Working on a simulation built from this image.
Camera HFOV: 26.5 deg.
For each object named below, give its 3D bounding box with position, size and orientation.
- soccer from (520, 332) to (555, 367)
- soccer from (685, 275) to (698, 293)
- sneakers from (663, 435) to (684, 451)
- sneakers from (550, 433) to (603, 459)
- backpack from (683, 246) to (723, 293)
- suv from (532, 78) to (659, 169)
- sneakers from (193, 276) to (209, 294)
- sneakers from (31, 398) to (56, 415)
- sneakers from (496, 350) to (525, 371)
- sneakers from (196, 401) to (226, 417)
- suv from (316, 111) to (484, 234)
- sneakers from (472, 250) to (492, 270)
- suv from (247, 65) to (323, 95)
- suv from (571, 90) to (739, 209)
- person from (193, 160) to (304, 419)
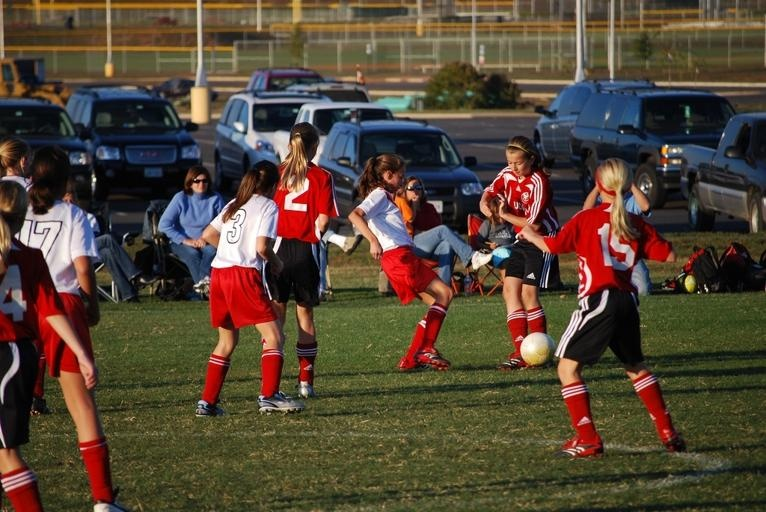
[{"bbox_3d":[2.362,1.396,24.870,0.536,0.506,0.486,-4,3,-4],"label":"soccer"},{"bbox_3d":[5.680,0.512,29.997,0.266,0.341,0.277,-16,3,13],"label":"soccer"},{"bbox_3d":[4.045,2.601,22.336,0.218,0.199,0.254,-42,1,-12],"label":"sneakers"},{"bbox_3d":[2.764,2.637,22.445,0.500,0.217,0.296,3,2,7],"label":"sneakers"},{"bbox_3d":[5.928,0.281,29.893,0.589,0.829,0.412,-12,-9,0],"label":"backpack"},{"bbox_3d":[5.084,-3.582,41.073,2.360,1.834,4.125,-5,13,-16],"label":"suv"},{"bbox_3d":[-3.245,0.545,29.381,0.342,0.259,0.128,-25,14,49],"label":"sneakers"},{"bbox_3d":[-4.940,2.222,23.648,0.199,0.289,0.285,0,-27,2],"label":"sneakers"},{"bbox_3d":[2.047,1.642,25.170,0.512,0.253,0.183,1,0,-12],"label":"sneakers"},{"bbox_3d":[-2.513,2.243,23.584,0.458,0.218,0.179,1,3,-24],"label":"sneakers"},{"bbox_3d":[0.124,-1.938,34.923,1.931,1.709,3.551,-1,5,-21],"label":"suv"},{"bbox_3d":[1.751,0.053,29.363,0.458,0.231,0.192,-19,15,31],"label":"sneakers"},{"bbox_3d":[-2.868,-5.004,45.594,1.101,0.994,2.252,-4,2,-28],"label":"suv"},{"bbox_3d":[6.146,-2.644,37.393,2.154,1.940,3.569,-4,8,-24],"label":"suv"},{"bbox_3d":[-1.931,0.500,23.532,1.320,3.484,0.921,-2,15,-7],"label":"person"}]
